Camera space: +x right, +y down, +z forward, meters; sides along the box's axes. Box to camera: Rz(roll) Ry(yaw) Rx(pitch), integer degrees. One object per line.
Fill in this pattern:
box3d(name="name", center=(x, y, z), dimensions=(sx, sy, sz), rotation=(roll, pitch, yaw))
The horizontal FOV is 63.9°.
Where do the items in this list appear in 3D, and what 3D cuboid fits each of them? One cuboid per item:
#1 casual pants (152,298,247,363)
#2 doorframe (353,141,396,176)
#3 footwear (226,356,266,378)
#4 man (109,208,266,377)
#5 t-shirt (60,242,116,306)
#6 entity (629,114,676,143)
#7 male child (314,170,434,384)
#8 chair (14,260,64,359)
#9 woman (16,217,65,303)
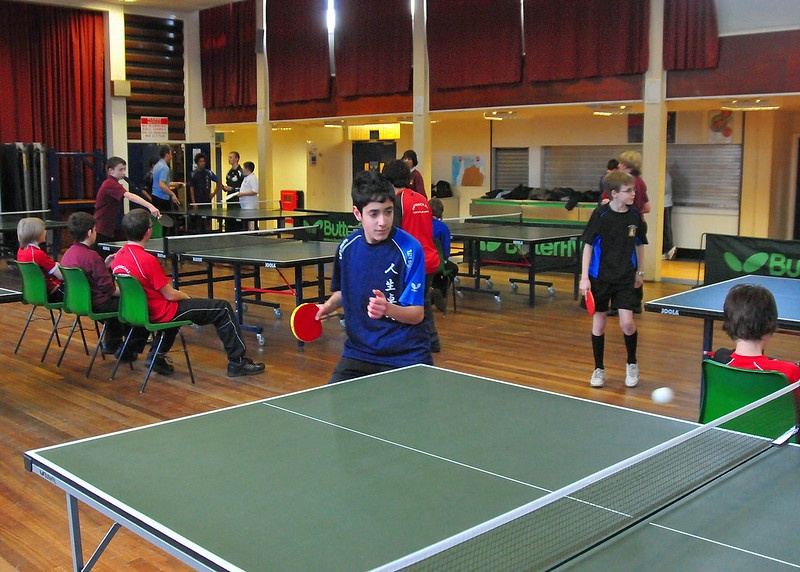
box3d(name="casual pants", center=(-1.664, 0.271, 5.357), dimensions=(0.919, 0.572, 0.454), rotation=(2, 6, 5))
box3d(name="doorframe", center=(-0.650, -3.028, 15.258), dimensions=(1.078, 0.932, 0.078), rotation=(-1, -14, -6))
box3d(name="footwear", center=(-1.351, 0.704, 5.600), dimensions=(0.328, 0.166, 0.138), rotation=(-3, 7, -25))
box3d(name="man", center=(-1.989, -0.002, 5.807), dimensions=(1.208, 1.666, 1.416), rotation=(6, 10, 34))
box3d(name="t-shirt", center=(-2.715, -0.131, 5.522), dimensions=(0.540, 0.464, 0.281), rotation=(6, 17, 25))
box3d(name="entity", center=(4.501, -2.816, 11.507), dimensions=(0.846, 0.542, 0.200), rotation=(4, 12, 23))
box3d(name="male child", center=(-0.128, -0.030, 2.872), dimensions=(0.518, 0.939, 0.377), rotation=(0, 11, 2))
box3d(name="chair", center=(-3.235, 0.179, 5.842), dimensions=(0.459, 0.773, 0.485), rotation=(7, 8, 43))
box3d(name="woman", center=(-3.302, -0.265, 6.000), dimensions=(0.538, 0.793, 0.507), rotation=(-6, 15, -27))
